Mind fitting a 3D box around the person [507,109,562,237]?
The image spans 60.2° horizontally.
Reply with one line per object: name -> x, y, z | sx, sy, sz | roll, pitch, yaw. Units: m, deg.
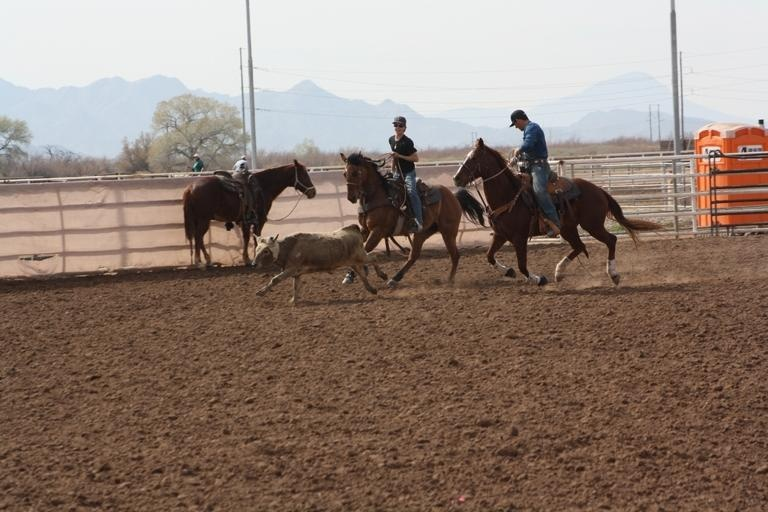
person -> 2.528, -1.371, 11.122 | 0.734, 2.059, 0.830 | -5, 8, -21

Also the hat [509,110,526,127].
hat -> 2.207, -2.255, 10.998 | 0.302, 0.248, 0.421 | 3, 9, 38

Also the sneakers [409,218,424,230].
sneakers -> 0.600, -0.549, 11.736 | 0.283, 0.210, 0.142 | -9, 10, -40

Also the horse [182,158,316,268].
horse -> -2.919, -0.848, 14.418 | 2.882, 2.282, 1.112 | -1, 0, -28
